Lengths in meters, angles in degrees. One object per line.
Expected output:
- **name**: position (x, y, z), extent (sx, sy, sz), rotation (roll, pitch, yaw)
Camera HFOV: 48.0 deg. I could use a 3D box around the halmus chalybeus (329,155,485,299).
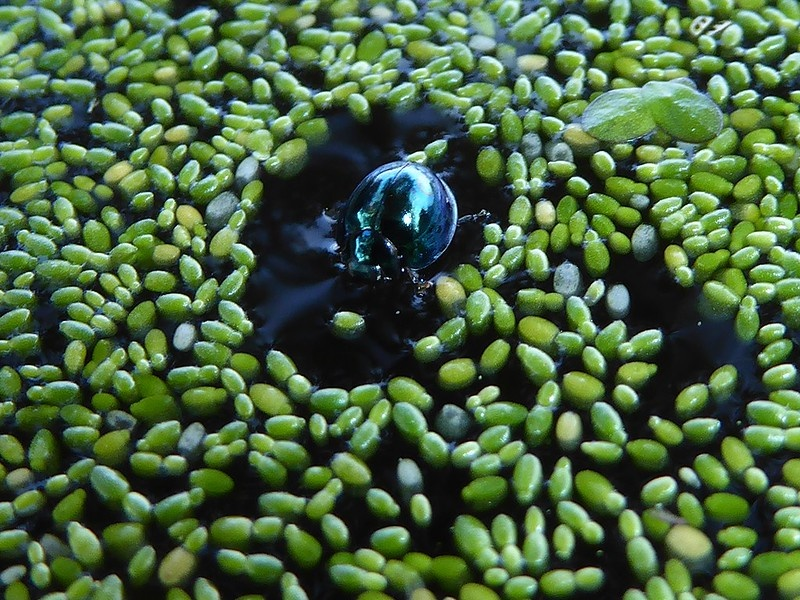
- **halmus chalybeus**: position (-0.016, -0.117, 1.170), extent (0.207, 0.109, 0.194), rotation (22, 46, 8)
